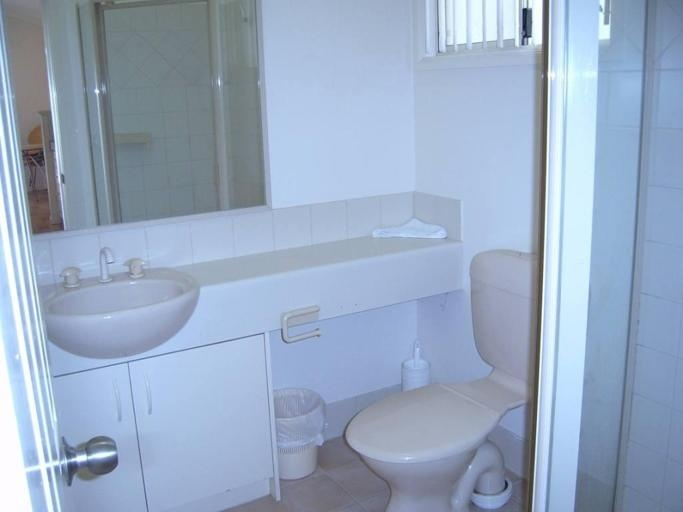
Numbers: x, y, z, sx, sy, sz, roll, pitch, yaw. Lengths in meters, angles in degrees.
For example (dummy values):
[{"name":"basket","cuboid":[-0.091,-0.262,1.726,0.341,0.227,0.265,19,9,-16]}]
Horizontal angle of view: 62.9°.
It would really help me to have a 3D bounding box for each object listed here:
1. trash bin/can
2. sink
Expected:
[{"name":"trash bin/can","cuboid":[-0.182,0.783,2.470,0.226,0.332,0.275,-7,12,-9]},{"name":"sink","cuboid":[-0.749,0.219,1.914,0.368,0.162,0.299,-13,22,-31]}]
